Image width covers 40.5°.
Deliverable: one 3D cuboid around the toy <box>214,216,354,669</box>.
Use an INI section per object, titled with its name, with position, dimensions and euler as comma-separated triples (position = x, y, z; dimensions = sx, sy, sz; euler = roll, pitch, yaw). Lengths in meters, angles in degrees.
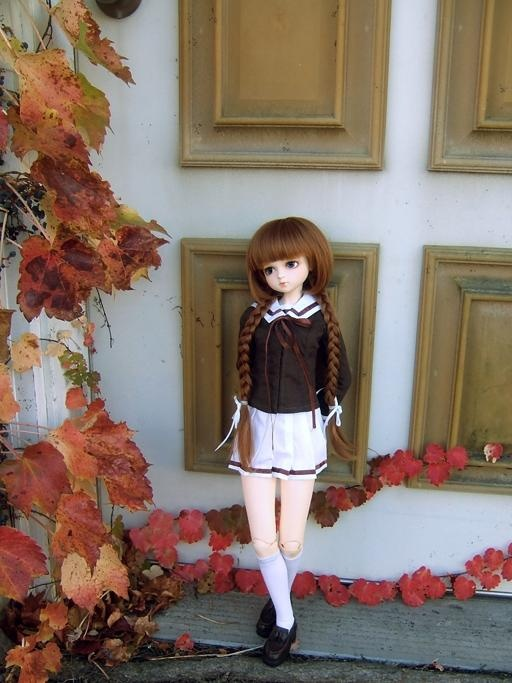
[toy]
position = 0.108, 0.284, 2.012
dimensions = 0.357, 0.941, 0.252
euler = 3, 1, -4
